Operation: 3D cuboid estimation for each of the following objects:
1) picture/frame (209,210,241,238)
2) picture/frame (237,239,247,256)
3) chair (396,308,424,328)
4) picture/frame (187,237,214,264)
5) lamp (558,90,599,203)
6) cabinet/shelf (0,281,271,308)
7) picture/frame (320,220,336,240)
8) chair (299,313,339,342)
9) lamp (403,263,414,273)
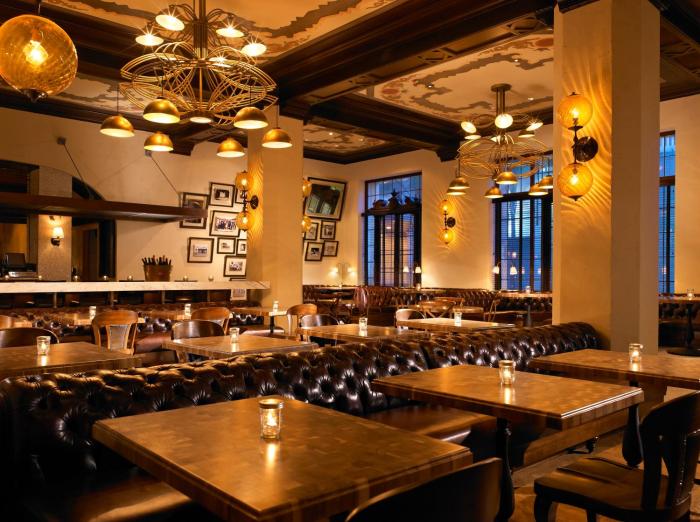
[{"bbox_3d":[-3.244,-0.960,13.806,1.045,0.718,0.110,0,3,-38],"label":"picture/frame"},{"bbox_3d":[-2.951,-0.377,14.587,0.261,0.431,0.059,1,-4,-39],"label":"picture/frame"},{"bbox_3d":[0.748,0.740,7.018,0.305,0.297,0.300,4,-9,-35],"label":"chair"},{"bbox_3d":[-3.852,-0.277,13.808,0.092,0.584,0.839,-3,-2,44],"label":"picture/frame"},{"bbox_3d":[2.430,-1.193,5.786,0.397,1.053,0.538,-3,-3,29],"label":"lamp"},{"bbox_3d":[-3.431,0.503,8.605,0.870,0.353,3.843,-4,-4,44],"label":"cabinet/shelf"},{"bbox_3d":[-0.693,-0.961,16.647,0.077,0.534,0.751,-1,0,39],"label":"picture/frame"},{"bbox_3d":[-0.358,0.733,6.104,0.411,0.401,0.343,2,-6,-29],"label":"chair"},{"bbox_3d":[1.702,0.234,15.762,0.271,0.130,0.252,-2,-7,25],"label":"lamp"}]
